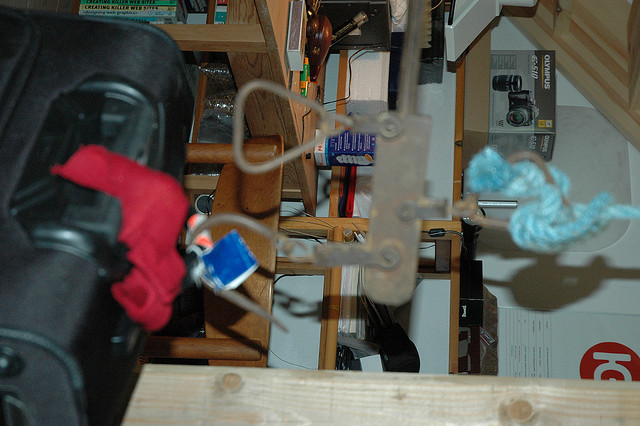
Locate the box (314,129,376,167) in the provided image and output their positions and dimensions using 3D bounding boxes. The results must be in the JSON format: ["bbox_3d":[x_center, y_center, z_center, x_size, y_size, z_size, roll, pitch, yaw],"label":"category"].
[{"bbox_3d":[0.144,-0.382,3.862,0.377,0.300,0.115,9,45,13],"label":"box"}]

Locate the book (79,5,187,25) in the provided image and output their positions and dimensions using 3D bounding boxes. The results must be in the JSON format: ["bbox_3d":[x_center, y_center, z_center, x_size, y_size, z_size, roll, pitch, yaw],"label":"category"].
[{"bbox_3d":[-1.082,-1.135,3.582,0.466,0.125,0.459,1,11,-3],"label":"book"}]
